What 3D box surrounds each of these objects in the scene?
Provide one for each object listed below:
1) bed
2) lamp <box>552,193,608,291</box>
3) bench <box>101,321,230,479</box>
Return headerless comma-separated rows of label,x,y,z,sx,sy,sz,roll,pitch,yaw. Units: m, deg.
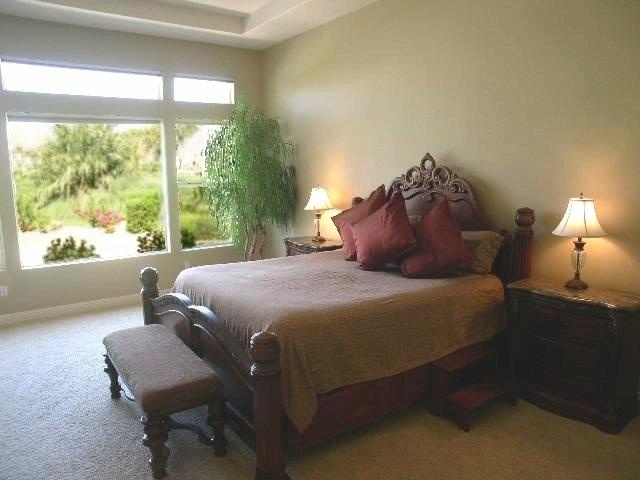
bed,0.395,0.637,3.788,2.445,1.702,2.347,-10,16,-34
lamp,2.032,0.001,3.651,0.341,0.719,0.358,4,10,39
bench,-1.027,0.646,3.179,0.663,0.733,1.475,-6,18,-33
